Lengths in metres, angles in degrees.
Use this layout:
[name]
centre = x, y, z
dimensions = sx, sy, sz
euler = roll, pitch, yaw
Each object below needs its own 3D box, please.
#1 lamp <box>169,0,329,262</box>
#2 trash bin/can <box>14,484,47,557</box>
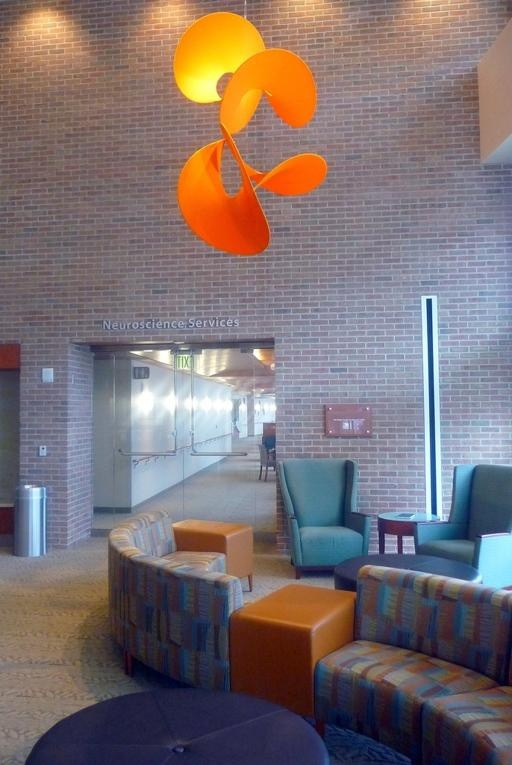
[lamp]
centre = -0.144, -0.958, 2.584
dimensions = 0.881, 1.000, 0.223
euler = -1, -25, -12
[trash bin/can]
centre = -2.392, 1.458, 7.002
dimensions = 0.306, 0.720, 0.218
euler = -1, 0, -27
